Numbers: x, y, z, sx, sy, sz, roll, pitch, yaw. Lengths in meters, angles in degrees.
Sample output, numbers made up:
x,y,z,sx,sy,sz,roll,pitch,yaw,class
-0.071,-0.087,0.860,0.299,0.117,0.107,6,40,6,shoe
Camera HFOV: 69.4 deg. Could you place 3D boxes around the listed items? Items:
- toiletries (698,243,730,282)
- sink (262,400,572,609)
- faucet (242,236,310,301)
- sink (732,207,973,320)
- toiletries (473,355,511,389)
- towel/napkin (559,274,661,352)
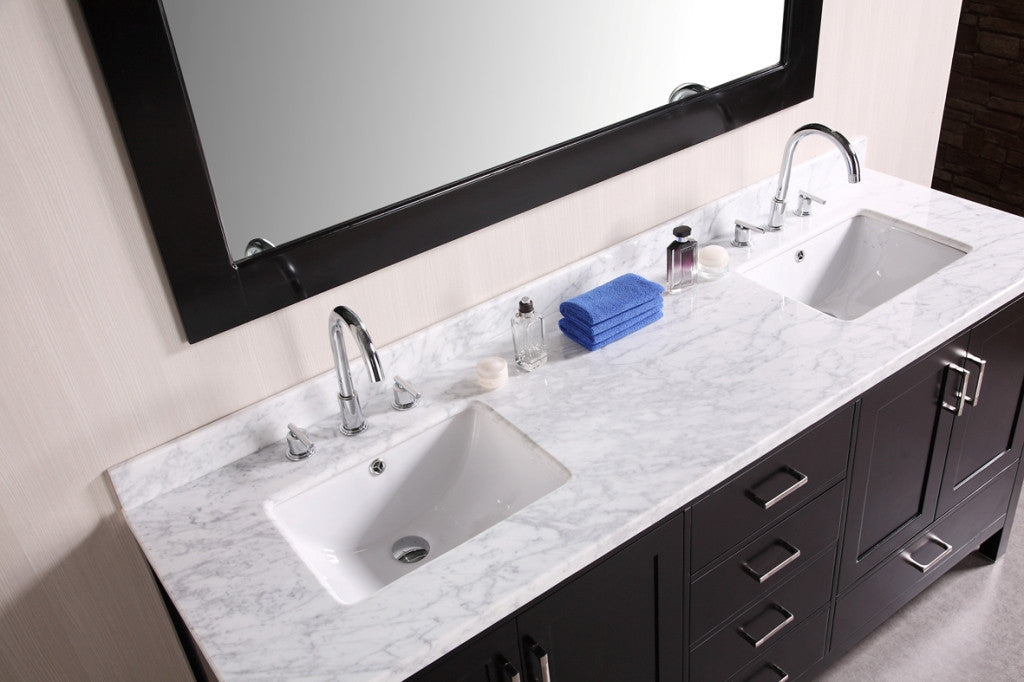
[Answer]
x,y,z,sx,sy,sz,roll,pitch,yaw,class
0.605,-0.239,2.224,0.100,0.056,0.097,2,74,17,toiletries
-0.274,0.400,1.843,0.695,0.247,0.455,-28,48,-27,sink
-0.552,-0.152,1.778,0.052,0.214,0.059,-33,36,4,faucet
1.120,-0.237,2.342,0.586,0.207,0.382,-34,54,-15,sink
-0.056,0.084,1.926,0.081,0.049,0.080,22,46,24,toiletries
0.283,-0.080,2.070,0.264,0.096,0.172,-23,40,-30,towel/napkin
